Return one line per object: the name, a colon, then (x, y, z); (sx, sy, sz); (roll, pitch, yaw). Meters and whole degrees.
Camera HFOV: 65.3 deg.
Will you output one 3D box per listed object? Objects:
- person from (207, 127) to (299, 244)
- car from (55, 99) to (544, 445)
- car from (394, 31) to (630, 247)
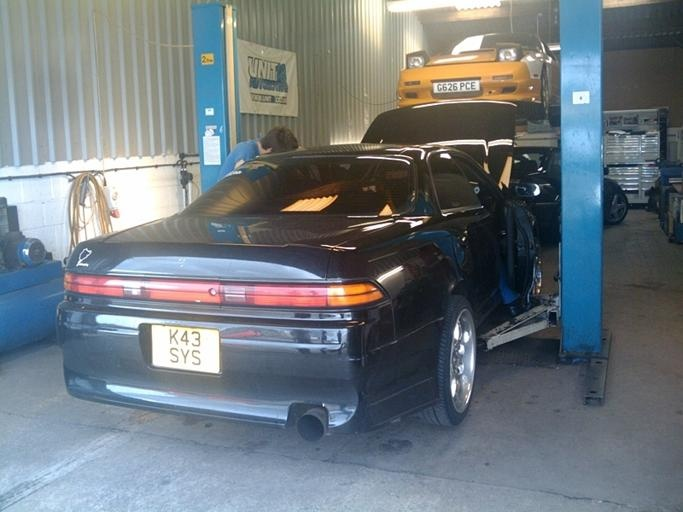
person: (-0.971, -0.763, 5.626); (0.380, 1.262, 0.587); (15, 10, -3)
car: (0.107, 0.090, 3.442); (1.519, 1.042, 2.652); (1, 8, 27)
car: (2.309, -1.919, 8.078); (2.111, 1.638, 4.312); (3, 15, 35)
